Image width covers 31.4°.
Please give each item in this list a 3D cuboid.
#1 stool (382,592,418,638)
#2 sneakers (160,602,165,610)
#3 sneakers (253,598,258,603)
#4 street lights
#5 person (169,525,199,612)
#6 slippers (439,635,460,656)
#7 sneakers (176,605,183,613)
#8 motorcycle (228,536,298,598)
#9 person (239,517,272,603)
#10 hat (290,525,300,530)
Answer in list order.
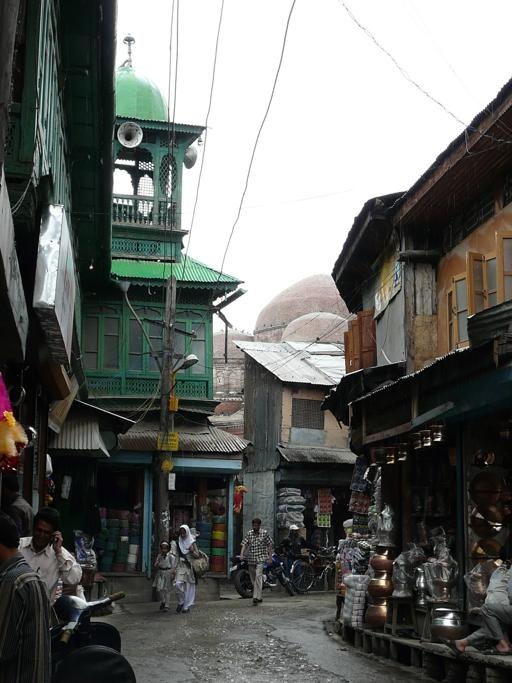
[{"bbox_3d":[1.625,3.099,10.200,0.337,0.542,0.378,1,-18,-6],"label":"stool"},{"bbox_3d":[-1.589,4.574,15.690,0.092,0.146,0.041,-1,4,20],"label":"sneakers"},{"bbox_3d":[-0.001,4.803,16.720,0.077,0.085,0.157,2,-17,5],"label":"sneakers"},{"bbox_3d":[-1.458,2.050,17.058,0.789,3.760,0.625,0,-4,7],"label":"street lights"},{"bbox_3d":[-1.158,3.830,15.201,0.387,1.368,0.517,3,-15,1],"label":"person"},{"bbox_3d":[1.705,2.684,8.001,0.065,0.083,0.196,24,15,-44],"label":"slippers"},{"bbox_3d":[-1.259,4.488,15.230,0.099,0.142,0.355,4,-17,-4],"label":"sneakers"},{"bbox_3d":[0.133,4.824,19.187,1.691,1.144,0.850,9,-33,-39],"label":"motorcycle"},{"bbox_3d":[-0.022,4.137,17.178,0.519,1.626,0.566,5,8,41],"label":"person"},{"bbox_3d":[0.930,4.577,22.186,0.171,0.102,0.269,-2,-2,8],"label":"hat"}]
